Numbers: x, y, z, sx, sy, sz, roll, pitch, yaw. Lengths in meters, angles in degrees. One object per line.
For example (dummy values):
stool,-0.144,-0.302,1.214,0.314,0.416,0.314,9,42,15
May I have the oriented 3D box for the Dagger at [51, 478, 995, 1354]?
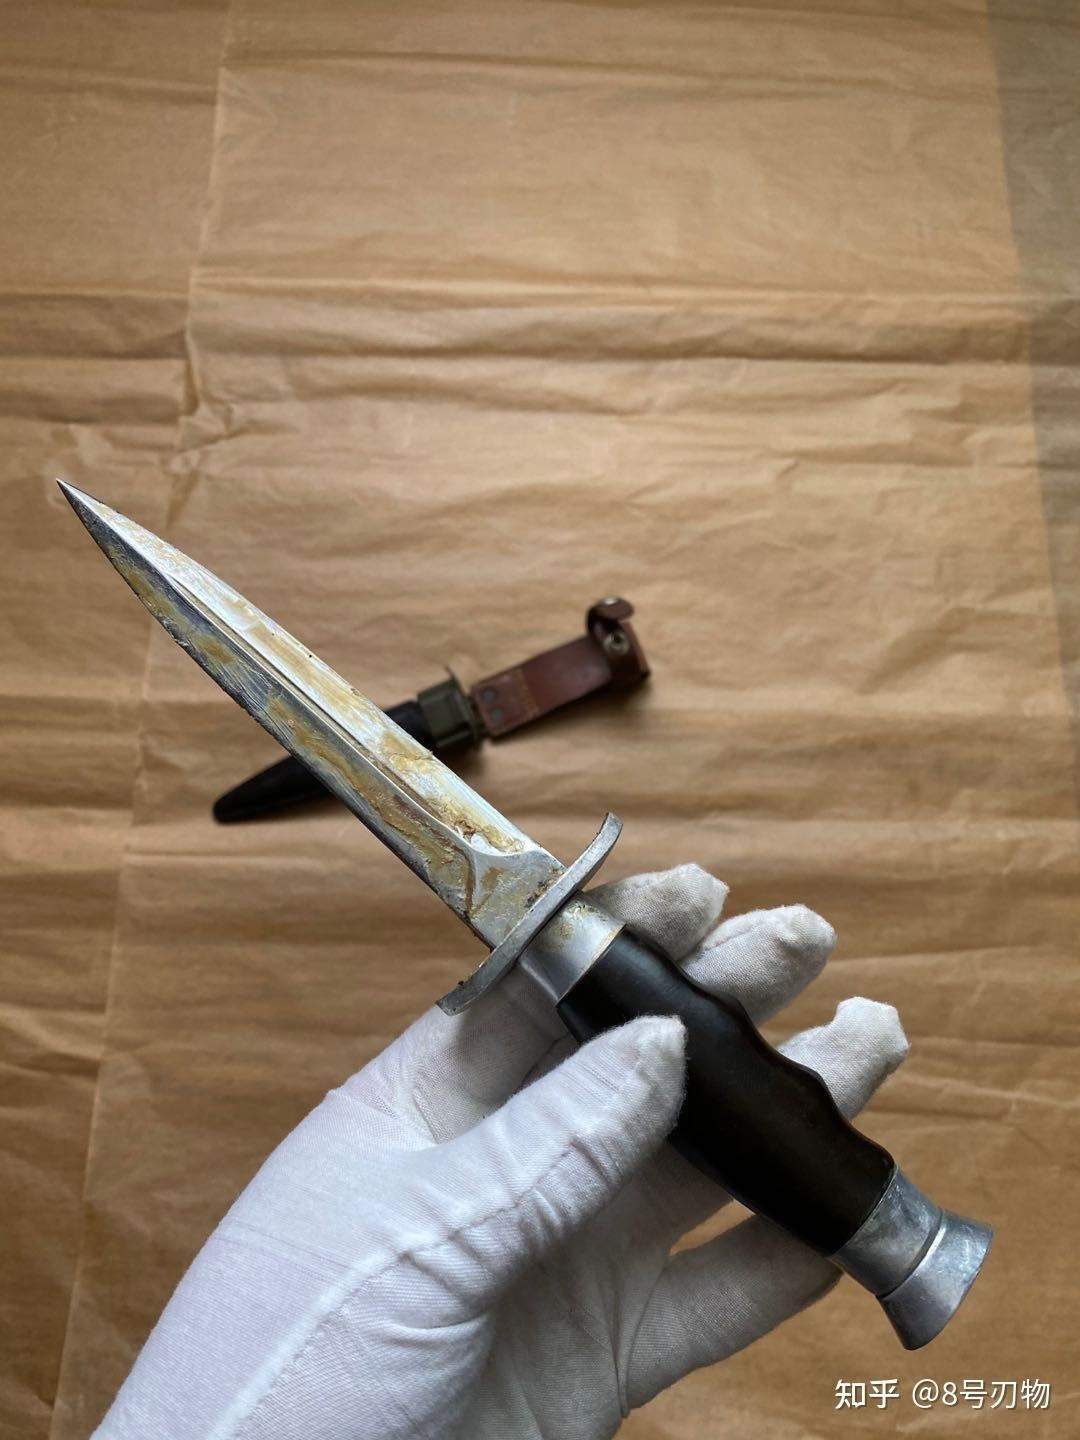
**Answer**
Dagger,0.017,0.160,1.226,1.149,0.163,0.281,36,82,6
